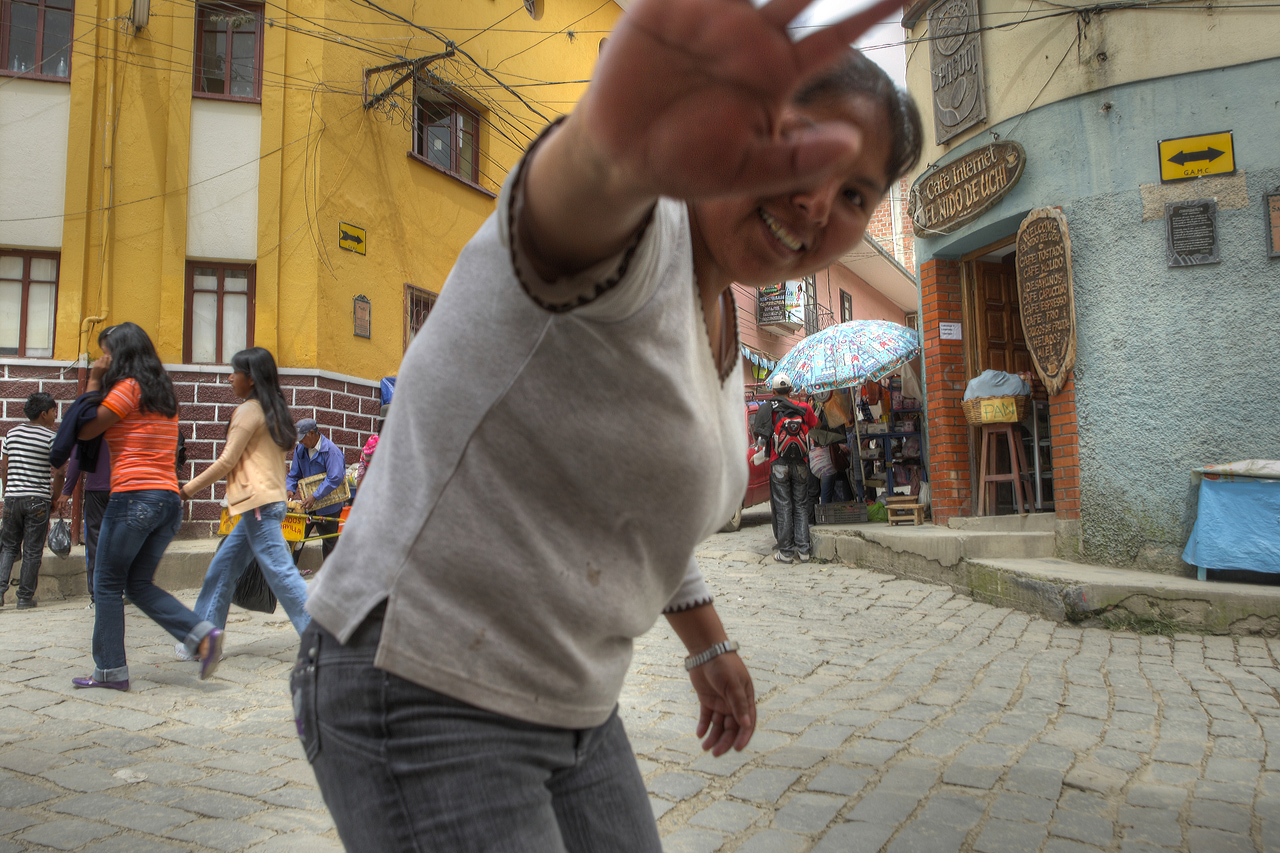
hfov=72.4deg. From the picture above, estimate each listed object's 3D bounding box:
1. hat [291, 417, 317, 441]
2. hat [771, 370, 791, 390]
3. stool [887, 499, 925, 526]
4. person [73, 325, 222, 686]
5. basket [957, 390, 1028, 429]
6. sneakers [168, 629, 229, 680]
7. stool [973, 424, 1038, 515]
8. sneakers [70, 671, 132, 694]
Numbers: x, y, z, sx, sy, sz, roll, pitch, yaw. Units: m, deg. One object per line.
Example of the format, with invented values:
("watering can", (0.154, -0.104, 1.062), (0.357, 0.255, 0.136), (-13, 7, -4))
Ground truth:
("hat", (-3.399, 0.047, 8.716), (0.289, 0.168, 0.212), (-10, 8, -31))
("hat", (1.887, -0.570, 11.362), (0.211, 0.207, 0.213), (-1, 1, -16))
("stool", (3.493, 1.111, 11.265), (0.362, 0.282, 0.372), (0, 1, 21))
("person", (-3.323, 0.502, 5.762), (1.060, 2.418, 0.609), (-2, -1, 29))
("basket", (4.345, -0.190, 10.547), (0.675, 0.315, 0.285), (-2, -1, 24))
("sneakers", (-3.040, 1.558, 5.914), (0.157, 0.378, 0.128), (26, -2, 33))
("stool", (4.587, 0.525, 10.876), (0.826, 1.175, 0.835), (3, -6, -28))
("sneakers", (-3.589, 1.663, 5.740), (0.417, 0.120, 0.152), (-1, -1, 3))
